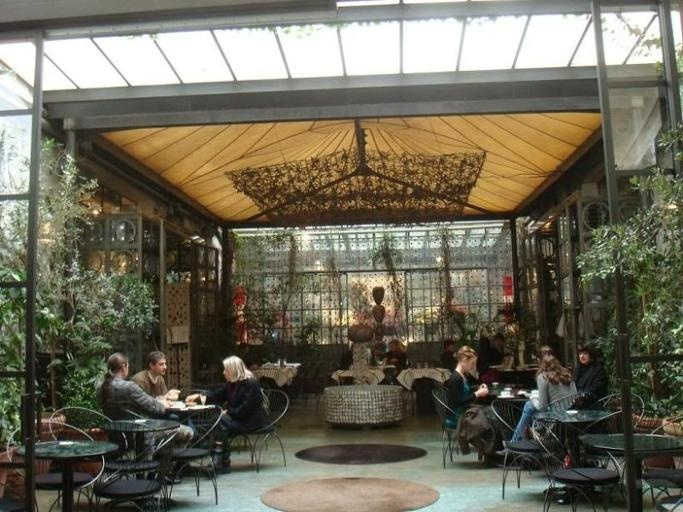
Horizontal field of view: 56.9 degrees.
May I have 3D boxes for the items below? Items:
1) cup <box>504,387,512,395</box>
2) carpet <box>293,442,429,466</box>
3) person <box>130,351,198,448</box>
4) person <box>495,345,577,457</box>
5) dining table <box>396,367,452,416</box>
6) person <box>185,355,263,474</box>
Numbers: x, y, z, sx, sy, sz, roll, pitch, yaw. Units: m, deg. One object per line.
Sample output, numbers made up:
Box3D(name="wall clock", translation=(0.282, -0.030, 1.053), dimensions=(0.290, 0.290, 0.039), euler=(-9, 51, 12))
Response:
Box3D(name="cup", translation=(2.484, 2.017, 9.425), dimensions=(0.129, 0.099, 0.129), euler=(-2, -2, 0))
Box3D(name="carpet", translation=(0.290, 2.993, 9.628), dimensions=(1.936, 0.130, 1.532), euler=(-3, -10, 5))
Box3D(name="person", translation=(-2.591, 2.075, 8.667), dimensions=(0.795, 1.503, 0.619), euler=(0, -5, 7))
Box3D(name="person", translation=(2.528, 1.750, 8.016), dimensions=(0.812, 1.080, 1.341), euler=(-1, -10, -9))
Box3D(name="dining table", translation=(1.903, 2.943, 14.542), dimensions=(1.371, 1.047, 0.984), euler=(0, -13, 0))
Box3D(name="person", translation=(-1.639, 2.164, 8.815), dimensions=(1.085, 1.496, 0.715), euler=(3, -13, -17))
